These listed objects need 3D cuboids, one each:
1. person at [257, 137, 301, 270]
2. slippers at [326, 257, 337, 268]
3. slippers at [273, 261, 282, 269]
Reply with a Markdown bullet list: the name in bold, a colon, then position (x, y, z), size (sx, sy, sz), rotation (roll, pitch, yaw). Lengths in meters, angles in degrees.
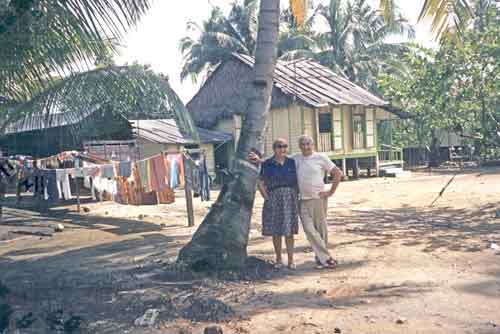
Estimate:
- **person**: position (0.670, 0.875, 13.693), size (0.921, 3.025, 0.470), rotation (-1, 10, 1)
- **slippers**: position (1.935, 2.266, 13.823), size (0.228, 0.197, 0.097), rotation (7, -2, 2)
- **slippers**: position (0.658, 2.312, 13.836), size (0.140, 0.081, 0.278), rotation (0, 3, 6)
